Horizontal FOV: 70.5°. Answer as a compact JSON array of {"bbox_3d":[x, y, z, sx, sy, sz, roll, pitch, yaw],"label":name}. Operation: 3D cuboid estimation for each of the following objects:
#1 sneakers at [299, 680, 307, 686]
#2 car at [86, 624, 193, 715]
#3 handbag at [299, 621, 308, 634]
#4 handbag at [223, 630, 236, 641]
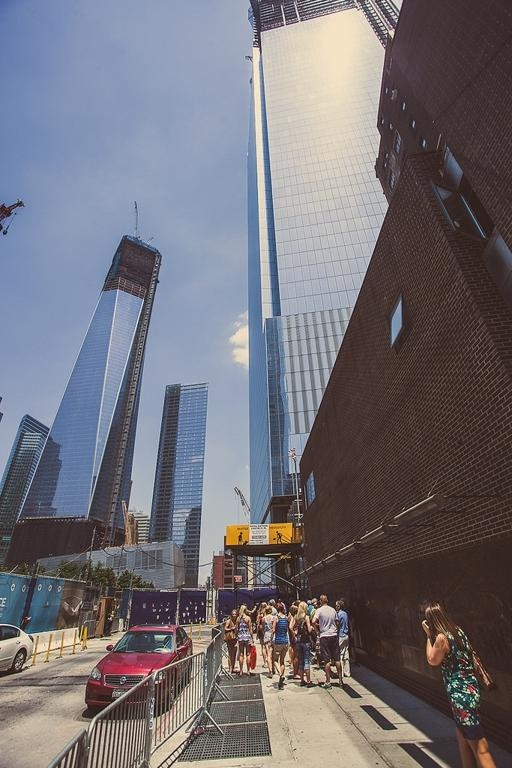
[{"bbox_3d":[1.049,6.650,8.100,0.125,0.053,0.388,-5,-30,3],"label":"sneakers"},{"bbox_3d":[-2.336,5.436,7.047,1.463,1.114,2.850,-2,-29,-2],"label":"car"},{"bbox_3d":[1.044,5.278,7.887,0.065,0.251,0.252,15,-31,-34],"label":"handbag"},{"bbox_3d":[-0.725,6.751,9.762,0.290,0.153,0.246,-4,-7,15],"label":"handbag"}]
